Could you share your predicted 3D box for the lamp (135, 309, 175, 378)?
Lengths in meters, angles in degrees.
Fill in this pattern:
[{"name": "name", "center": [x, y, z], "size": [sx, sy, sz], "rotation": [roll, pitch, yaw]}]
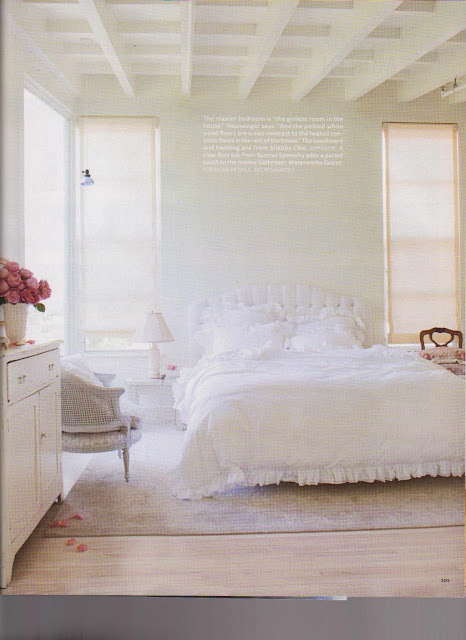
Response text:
[{"name": "lamp", "center": [-0.289, 0.096, 2.493], "size": [0.118, 0.263, 0.172], "rotation": [-1, 2, 7]}]
